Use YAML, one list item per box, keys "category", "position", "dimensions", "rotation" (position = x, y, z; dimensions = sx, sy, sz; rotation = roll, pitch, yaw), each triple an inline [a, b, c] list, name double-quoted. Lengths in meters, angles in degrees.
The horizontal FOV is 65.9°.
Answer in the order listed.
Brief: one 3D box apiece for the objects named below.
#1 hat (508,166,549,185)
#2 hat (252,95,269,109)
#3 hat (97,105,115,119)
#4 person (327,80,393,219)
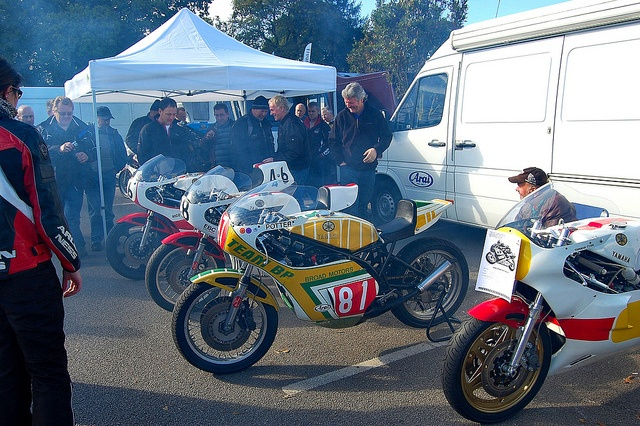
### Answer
- category: "hat"
  position: [1.940, -0.373, 4.621]
  dimensions: [0.182, 0.152, 0.288]
  rotation: [-9, 20, -42]
- category: "hat"
  position: [-0.922, -1.786, 7.932]
  dimensions: [0.247, 0.206, 0.247]
  rotation: [-13, 23, -34]
- category: "hat"
  position: [-3.654, -1.763, 8.608]
  dimensions: [0.324, 0.191, 0.244]
  rotation: [-10, 19, -38]
- category: "person"
  position: [0.654, -0.833, 8.024]
  dimensions: [0.943, 2.510, 0.750]
  rotation: [2, 23, 8]
